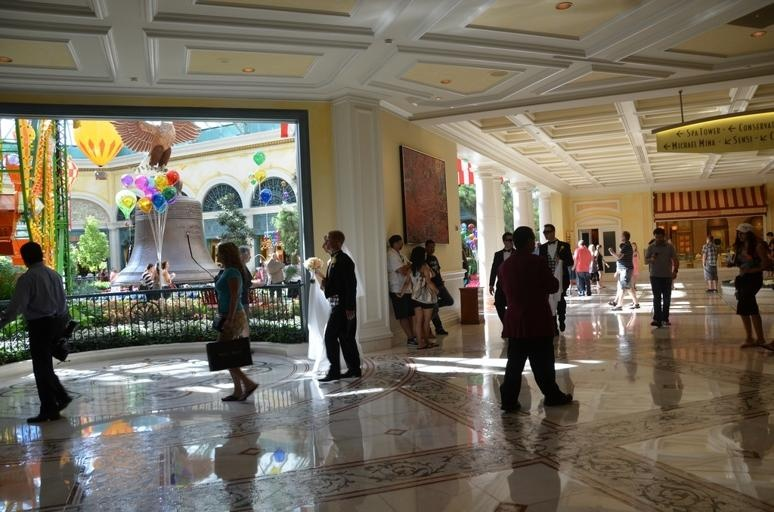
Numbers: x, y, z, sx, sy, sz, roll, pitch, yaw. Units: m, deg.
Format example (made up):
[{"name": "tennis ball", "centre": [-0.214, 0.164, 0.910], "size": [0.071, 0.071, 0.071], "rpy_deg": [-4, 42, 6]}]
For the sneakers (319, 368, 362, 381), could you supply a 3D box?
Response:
[{"name": "sneakers", "centre": [-0.666, 1.657, 6.815], "size": [0.638, 0.242, 0.193], "rpy_deg": [3, -6, -10]}]

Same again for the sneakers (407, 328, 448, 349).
[{"name": "sneakers", "centre": [0.756, 1.500, 8.678], "size": [0.679, 0.241, 0.224], "rpy_deg": [-4, 3, -36]}]

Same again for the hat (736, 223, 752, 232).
[{"name": "hat", "centre": [5.141, -0.388, 6.970], "size": [0.146, 0.127, 0.288], "rpy_deg": [2, 8, 42]}]

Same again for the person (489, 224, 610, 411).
[{"name": "person", "centre": [1.557, 0.687, 5.282], "size": [0.689, 1.961, 0.645], "rpy_deg": [0, 7, 32]}]

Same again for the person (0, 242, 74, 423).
[{"name": "person", "centre": [-4.095, 0.896, 5.709], "size": [0.467, 2.075, 0.685], "rpy_deg": [-4, 6, -5]}]

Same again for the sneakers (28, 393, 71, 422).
[{"name": "sneakers", "centre": [-3.948, 1.827, 5.746], "size": [0.552, 0.210, 0.177], "rpy_deg": [3, -5, -26]}]

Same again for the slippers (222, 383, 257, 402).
[{"name": "slippers", "centre": [-1.848, 1.752, 6.126], "size": [0.499, 0.135, 0.171], "rpy_deg": [-19, 2, 5]}]

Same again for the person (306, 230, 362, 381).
[{"name": "person", "centre": [-0.747, 0.704, 6.903], "size": [0.662, 2.086, 0.729], "rpy_deg": [-5, 6, -10]}]

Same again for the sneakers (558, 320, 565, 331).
[{"name": "sneakers", "centre": [3.328, 1.350, 9.276], "size": [0.160, 0.189, 0.070], "rpy_deg": [-1, -2, -23]}]

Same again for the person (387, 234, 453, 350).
[{"name": "person", "centre": [0.575, 0.624, 8.698], "size": [0.815, 1.976, 0.906], "rpy_deg": [-9, 8, -43]}]

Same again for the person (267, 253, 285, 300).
[{"name": "person", "centre": [-2.681, 0.461, 11.679], "size": [0.466, 0.963, 0.367], "rpy_deg": [-3, 19, -10]}]

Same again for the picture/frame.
[{"name": "picture/frame", "centre": [0.720, -1.191, 9.922], "size": [0.162, 1.810, 2.320], "rpy_deg": [-5, -4, 30]}]

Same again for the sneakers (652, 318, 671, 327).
[{"name": "sneakers", "centre": [5.237, 1.268, 9.185], "size": [0.403, 0.154, 0.126], "rpy_deg": [-2, 3, -12]}]
